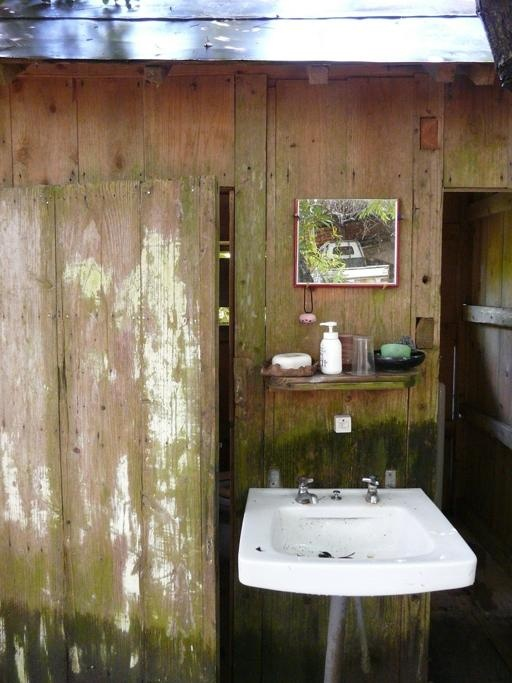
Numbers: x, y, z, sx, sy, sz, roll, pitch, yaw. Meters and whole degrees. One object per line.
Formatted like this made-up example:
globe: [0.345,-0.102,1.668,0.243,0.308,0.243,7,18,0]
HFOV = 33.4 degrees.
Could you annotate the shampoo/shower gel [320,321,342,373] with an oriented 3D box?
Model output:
shampoo/shower gel: [0.250,0.019,2.843,0.069,0.176,0.074,0,9,3]

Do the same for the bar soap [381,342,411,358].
bar soap: [0.466,0.028,2.862,0.101,0.044,0.116,1,12,10]

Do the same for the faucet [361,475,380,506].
faucet: [0.388,0.506,2.906,0.060,0.120,0.075,0,-4,3]

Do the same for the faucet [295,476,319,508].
faucet: [0.174,0.511,2.905,0.064,0.093,0.065,-1,0,-10]
